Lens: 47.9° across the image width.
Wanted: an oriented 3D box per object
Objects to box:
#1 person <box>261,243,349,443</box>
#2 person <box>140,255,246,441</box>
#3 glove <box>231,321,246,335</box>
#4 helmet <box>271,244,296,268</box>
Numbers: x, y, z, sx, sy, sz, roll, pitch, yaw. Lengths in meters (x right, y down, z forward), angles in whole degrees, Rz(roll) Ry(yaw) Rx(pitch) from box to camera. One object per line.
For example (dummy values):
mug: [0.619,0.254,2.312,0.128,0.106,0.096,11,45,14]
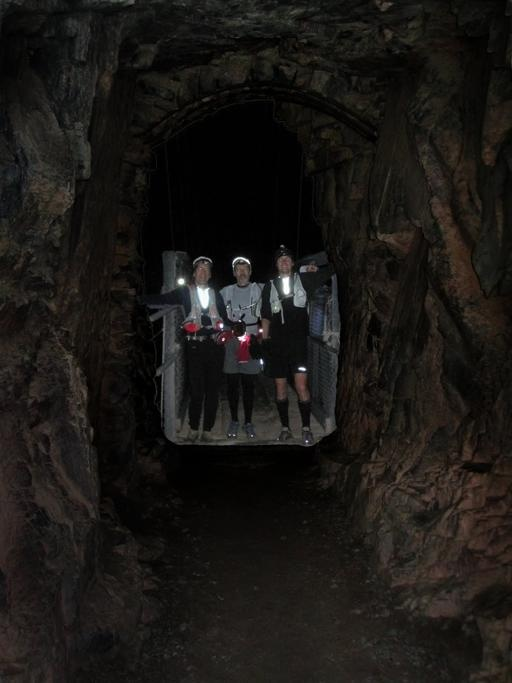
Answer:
person: [0.438,0.057,6.012,0.669,2.033,1.399,1,7,8]
person: [-0.528,0.113,5.395,0.825,1.780,0.620,-1,6,-6]
glove: [-0.173,-0.147,5.475,0.139,0.212,0.109,-1,9,-8]
helmet: [0.260,-0.813,5.455,0.169,0.171,0.385,0,7,-2]
